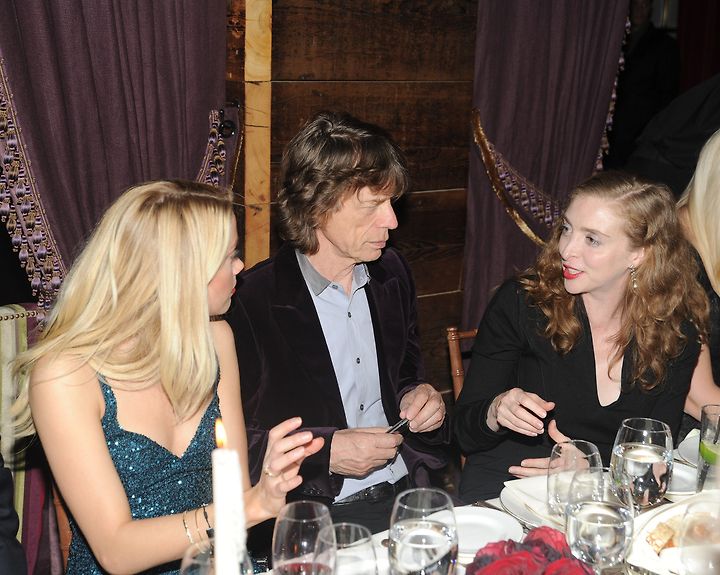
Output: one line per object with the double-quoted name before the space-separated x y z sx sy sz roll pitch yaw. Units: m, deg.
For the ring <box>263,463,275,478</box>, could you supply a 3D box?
"ring" -0.194 0.393 1.390 0.021 0.028 0.020 -25 15 7
